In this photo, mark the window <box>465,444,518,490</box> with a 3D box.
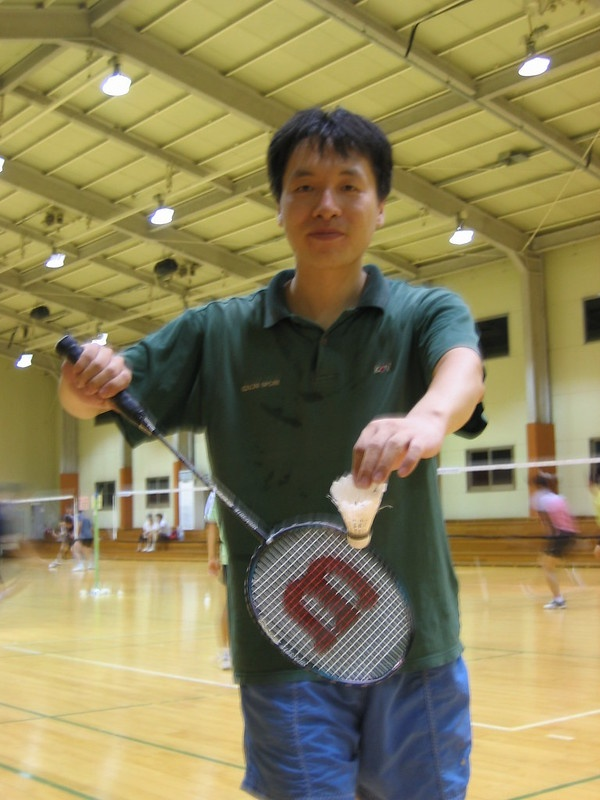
[{"bbox_3d":[4.990,1.787,16.562,1.353,1.114,0.414,0,-14,-2],"label":"window"}]

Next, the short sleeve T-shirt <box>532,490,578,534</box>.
[{"bbox_3d":[3.535,1.541,8.744,0.510,0.578,0.296,-3,-14,6],"label":"short sleeve T-shirt"}]
